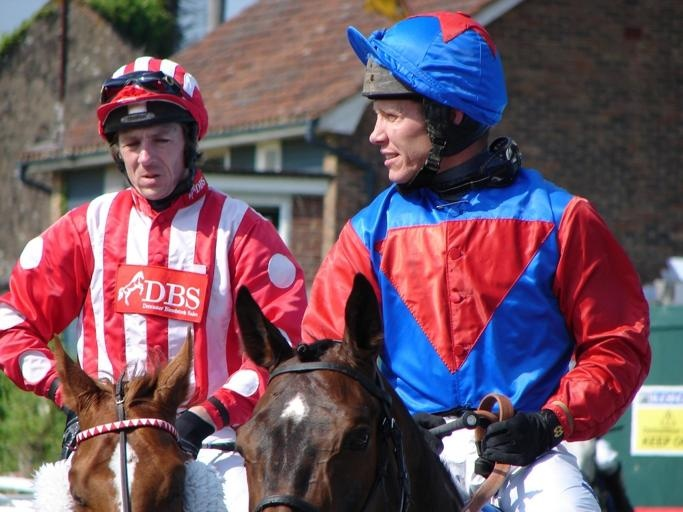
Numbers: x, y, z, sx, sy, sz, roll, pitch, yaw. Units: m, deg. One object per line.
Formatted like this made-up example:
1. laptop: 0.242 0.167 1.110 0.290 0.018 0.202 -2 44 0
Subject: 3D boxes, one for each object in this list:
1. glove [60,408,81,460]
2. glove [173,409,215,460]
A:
1. glove: -2.582 1.676 18.218 0.221 0.420 0.128 5 4 17
2. glove: -1.423 1.694 18.407 0.306 0.424 0.173 35 -3 15
